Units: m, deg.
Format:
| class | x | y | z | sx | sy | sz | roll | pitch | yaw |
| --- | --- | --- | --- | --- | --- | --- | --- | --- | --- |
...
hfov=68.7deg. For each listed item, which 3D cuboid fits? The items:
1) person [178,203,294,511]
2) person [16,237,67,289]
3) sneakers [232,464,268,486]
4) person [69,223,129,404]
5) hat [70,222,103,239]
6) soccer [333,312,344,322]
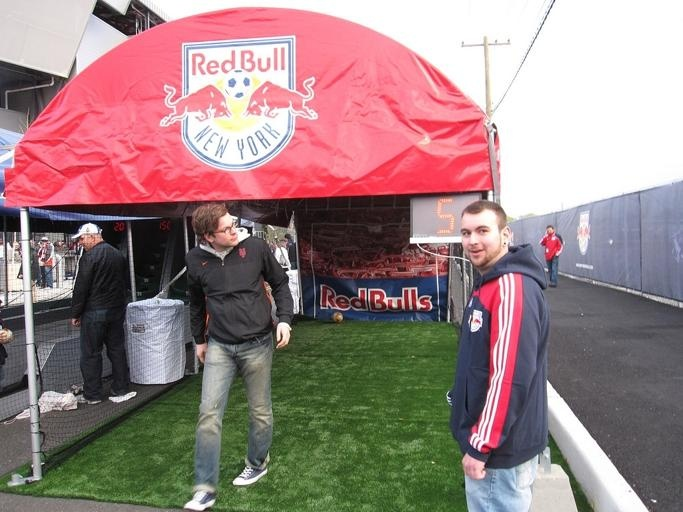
| class | x | y | z | sx | sy | sz | roll | pitch | yaw |
| --- | --- | --- | --- | --- | --- | --- | --- | --- | --- |
| person | -0.945 | 0.941 | 4.570 | 0.953 | 2.336 | 0.736 | -3 | 5 | -15 |
| person | -5.172 | 0.110 | 8.966 | 0.539 | 0.955 | 1.313 | -4 | 6 | -32 |
| sneakers | -0.837 | 2.009 | 4.634 | 0.111 | 0.147 | 0.336 | -6 | -10 | 30 |
| person | -3.011 | 0.850 | 6.401 | 0.667 | 2.017 | 0.377 | -4 | 6 | -33 |
| hat | -3.355 | -0.331 | 6.595 | 0.385 | 0.279 | 0.292 | 1 | -2 | -9 |
| soccer | -0.059 | 1.342 | 11.143 | 0.220 | 0.196 | 0.250 | -1 | 5 | 0 |
